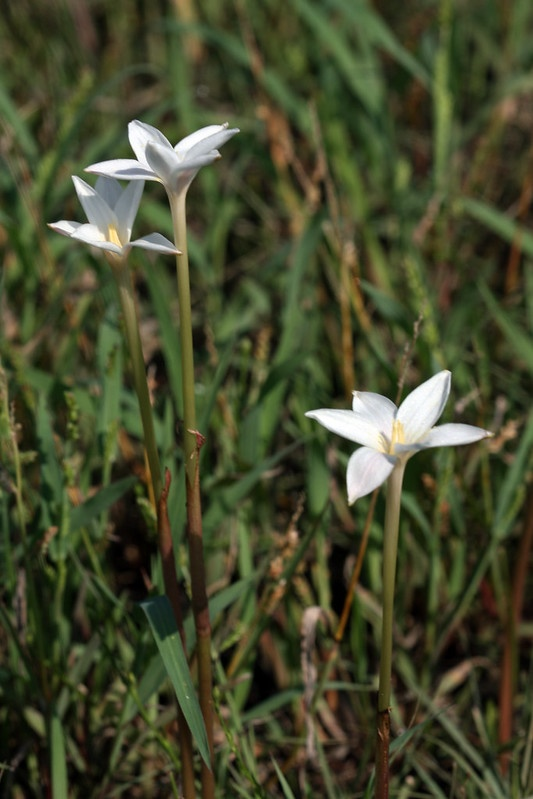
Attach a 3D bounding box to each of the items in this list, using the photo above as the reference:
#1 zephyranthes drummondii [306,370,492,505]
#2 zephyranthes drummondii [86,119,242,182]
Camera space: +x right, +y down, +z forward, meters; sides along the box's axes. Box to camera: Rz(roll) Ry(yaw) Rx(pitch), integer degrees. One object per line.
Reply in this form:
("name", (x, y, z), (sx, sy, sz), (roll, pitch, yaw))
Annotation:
("zephyranthes drummondii", (0.132, 0.041, 0.775), (0.183, 0.078, 0.183), (-3, 20, 3))
("zephyranthes drummondii", (-0.096, -0.249, 0.804), (0.109, 0.052, 0.111), (-10, 13, 8))
